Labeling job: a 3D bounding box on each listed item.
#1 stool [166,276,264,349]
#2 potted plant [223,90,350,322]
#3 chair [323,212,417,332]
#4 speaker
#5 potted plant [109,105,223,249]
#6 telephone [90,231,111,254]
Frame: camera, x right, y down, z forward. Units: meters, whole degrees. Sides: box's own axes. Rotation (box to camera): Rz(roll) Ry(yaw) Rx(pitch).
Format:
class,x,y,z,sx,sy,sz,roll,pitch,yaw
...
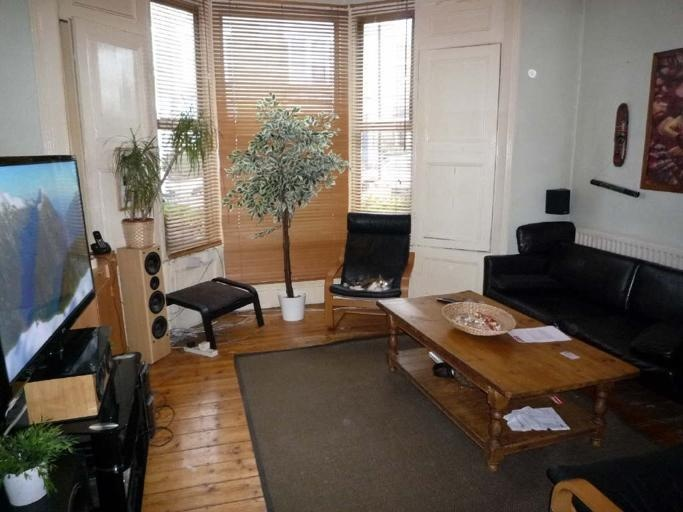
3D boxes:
class,x,y,z,sx,sy,sz,roll,pitch,yaw
stool,-1.170,0.398,4.725,0.670,0.365,0.639,14,24,37
potted plant,-0.579,-0.481,5.223,1.213,2.257,0.722,-6,15,-14
chair,0.312,0.142,5.156,1.055,1.086,1.062,-6,16,-27
speaker,-1.671,0.419,4.294,0.362,1.007,0.205,-8,15,-23
potted plant,-1.635,-0.749,4.617,0.685,1.451,1.225,11,13,40
telephone,-1.934,-0.101,4.072,0.199,0.206,0.121,-1,11,-20
